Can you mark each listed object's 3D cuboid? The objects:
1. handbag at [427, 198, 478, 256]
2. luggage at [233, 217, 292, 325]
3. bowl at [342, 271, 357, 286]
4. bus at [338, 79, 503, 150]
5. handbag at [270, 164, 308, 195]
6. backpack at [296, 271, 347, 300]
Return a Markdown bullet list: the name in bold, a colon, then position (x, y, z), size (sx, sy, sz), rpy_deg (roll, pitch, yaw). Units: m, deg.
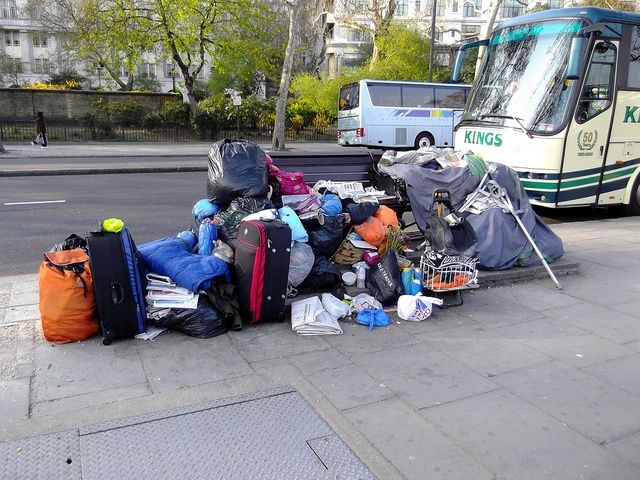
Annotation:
- **handbag**: position (1.502, -0.026, 5.306), size (0.575, 0.464, 0.434), rpy_deg (-9, 19, -29)
- **luggage**: position (-0.591, 0.311, 4.683), size (0.588, 0.997, 0.345), rpy_deg (-1, 17, -3)
- **bowl**: position (0.363, 0.445, 5.514), size (0.148, 0.066, 0.148), rpy_deg (-1, 31, 0)
- **bus**: position (5.921, -6.937, 25.719), size (9.675, 3.713, 3.408), rpy_deg (-4, 15, -14)
- **handbag**: position (-0.411, -0.787, 6.151), size (0.437, 0.187, 0.434), rpy_deg (18, 23, 9)
- **backpack**: position (0.023, 0.504, 5.353), size (0.548, 0.211, 0.347), rpy_deg (2, 17, 5)
